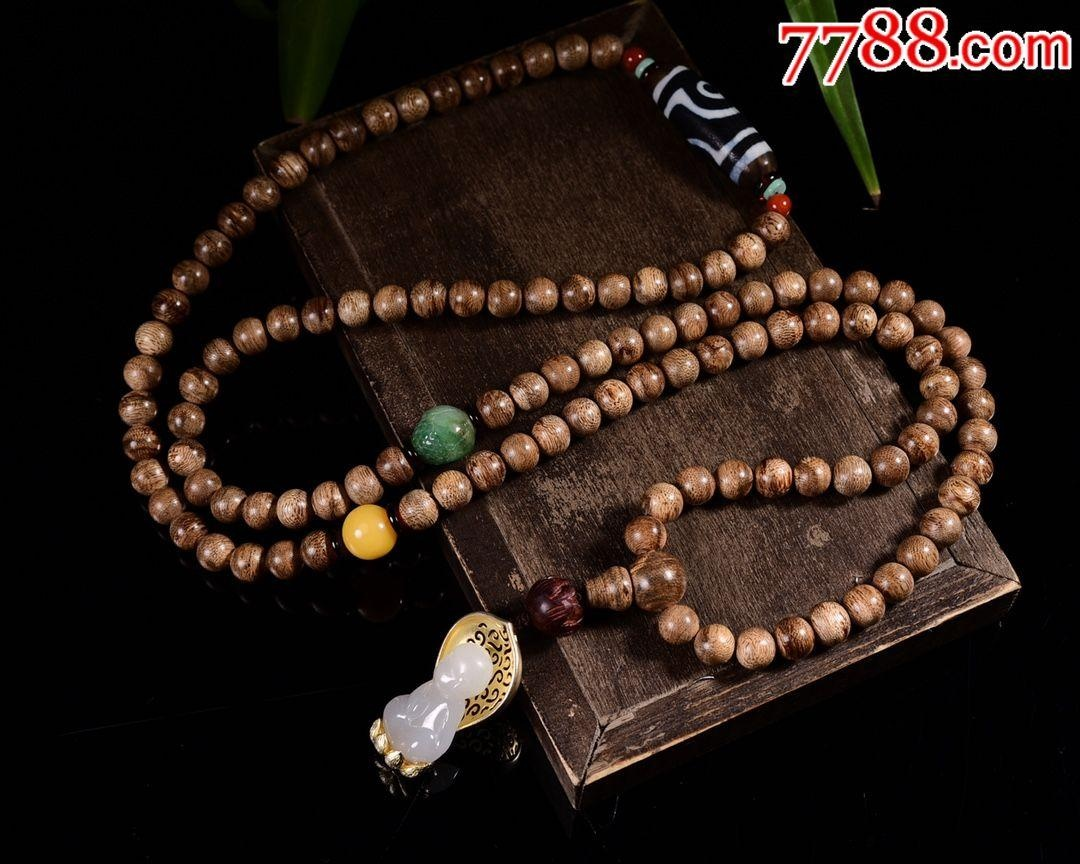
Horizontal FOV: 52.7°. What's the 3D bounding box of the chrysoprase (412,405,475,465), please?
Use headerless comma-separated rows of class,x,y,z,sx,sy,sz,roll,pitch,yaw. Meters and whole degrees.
chrysoprase,-0.144,0.008,1.644,0.084,0.056,0.084,-21,105,-13

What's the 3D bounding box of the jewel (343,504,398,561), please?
jewel,-0.253,0.152,1.674,0.069,0.072,0.100,-14,79,40

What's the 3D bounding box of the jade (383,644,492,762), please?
jade,-0.140,0.372,1.535,0.105,0.070,0.175,43,76,5

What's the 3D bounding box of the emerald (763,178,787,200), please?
emerald,0.397,-0.404,1.820,0.030,0.036,0.009,-7,58,-16

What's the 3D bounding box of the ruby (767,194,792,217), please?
ruby,0.402,-0.379,1.828,0.032,0.021,0.040,10,57,-4
